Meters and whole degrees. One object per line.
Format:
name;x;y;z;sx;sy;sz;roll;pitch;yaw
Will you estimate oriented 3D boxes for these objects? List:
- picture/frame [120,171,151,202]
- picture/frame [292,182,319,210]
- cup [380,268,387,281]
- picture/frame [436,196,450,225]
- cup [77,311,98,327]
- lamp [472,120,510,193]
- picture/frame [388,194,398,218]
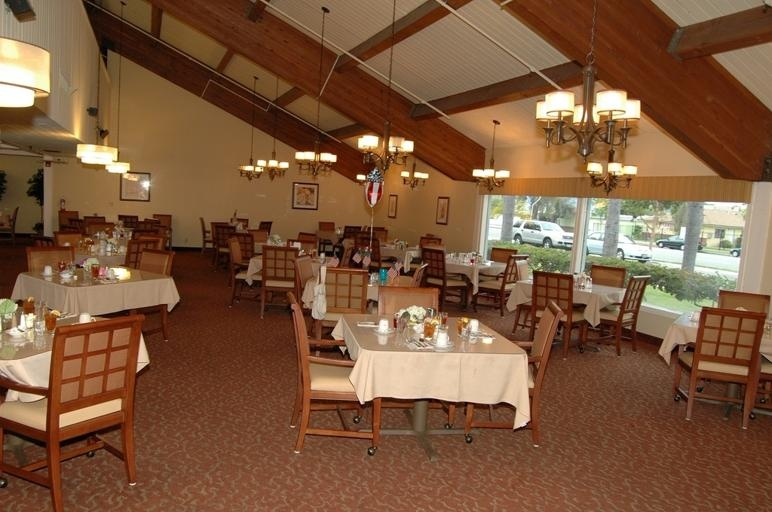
picture/frame;-7.918;-2.234;16.123;1.123;0.945;0.080;-1;7;-23
picture/frame;-2.901;-2.178;18.158;1.096;1.044;0.078;-2;6;-25
cup;-0.033;0.255;7.449;0.162;0.196;0.153;2;16;-1
picture/frame;1.645;-1.322;14.723;0.073;0.891;0.789;-3;9;-24
cup;-2.839;0.594;4.874;0.220;0.138;0.130;9;-4;-45
lamp;2.399;-2.237;11.544;0.847;1.474;0.739;3;4;-14
picture/frame;0.245;-1.738;17.556;0.080;1.126;0.863;-1;4;-24
